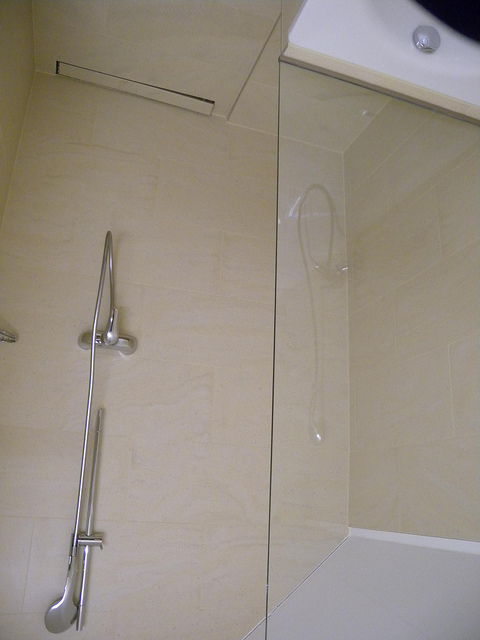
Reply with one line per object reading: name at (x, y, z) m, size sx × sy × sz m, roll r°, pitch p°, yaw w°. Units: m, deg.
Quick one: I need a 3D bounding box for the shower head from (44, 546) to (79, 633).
shower head at (-0.451, 0.688, 1.492) m, size 0.078 × 0.197 × 0.063 m, roll -2°, pitch -22°, yaw 6°
